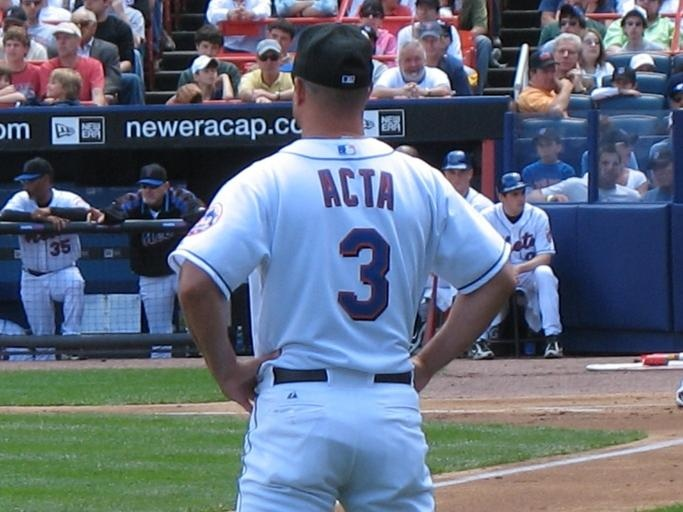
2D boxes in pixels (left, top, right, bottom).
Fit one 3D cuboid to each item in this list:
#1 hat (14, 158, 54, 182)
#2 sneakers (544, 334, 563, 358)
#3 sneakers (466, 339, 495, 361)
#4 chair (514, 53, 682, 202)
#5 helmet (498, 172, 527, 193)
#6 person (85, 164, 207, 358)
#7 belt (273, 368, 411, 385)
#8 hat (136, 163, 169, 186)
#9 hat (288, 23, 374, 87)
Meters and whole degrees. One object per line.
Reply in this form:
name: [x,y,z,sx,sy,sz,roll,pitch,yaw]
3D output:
hat: [-2.922,-0.813,15.189,0.353,0.204,0.247,0,2,-24]
sneakers: [1.977,0.855,14.873,0.161,0.217,0.232,1,4,8]
sneakers: [1.290,0.933,15.005,0.227,0.240,0.540,2,-8,-9]
chair: [2.367,-1.424,15.760,1.444,1.776,1.489,1,-5,6]
helmet: [1.591,-0.674,14.826,0.174,0.107,0.215,-3,3,-13]
person: [-1.756,0.159,14.926,1.173,1.893,1.179,-11,5,-27]
belt: [0.007,0.748,9.730,0.842,0.108,0.068,0,4,-6]
hat: [-1.754,-0.765,15.025,0.189,0.152,0.275,1,2,10]
hat: [-0.030,-1.206,9.741,0.378,0.253,0.468,1,25,-8]
